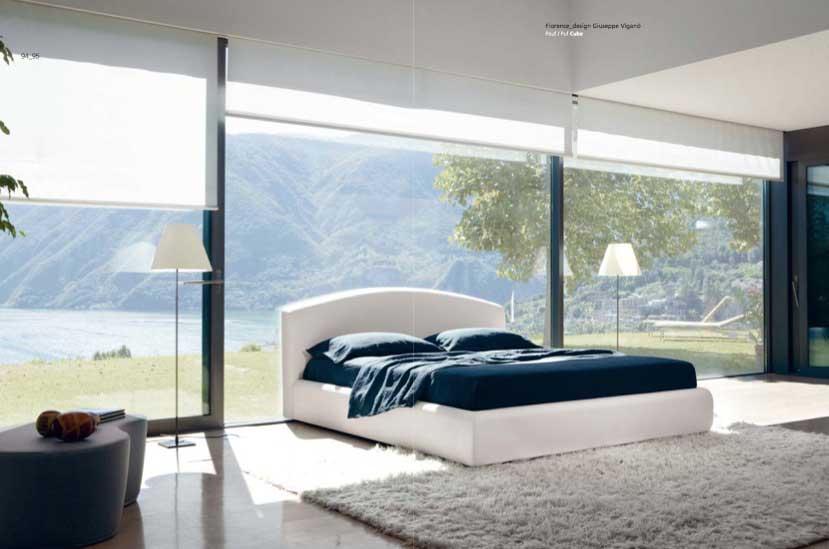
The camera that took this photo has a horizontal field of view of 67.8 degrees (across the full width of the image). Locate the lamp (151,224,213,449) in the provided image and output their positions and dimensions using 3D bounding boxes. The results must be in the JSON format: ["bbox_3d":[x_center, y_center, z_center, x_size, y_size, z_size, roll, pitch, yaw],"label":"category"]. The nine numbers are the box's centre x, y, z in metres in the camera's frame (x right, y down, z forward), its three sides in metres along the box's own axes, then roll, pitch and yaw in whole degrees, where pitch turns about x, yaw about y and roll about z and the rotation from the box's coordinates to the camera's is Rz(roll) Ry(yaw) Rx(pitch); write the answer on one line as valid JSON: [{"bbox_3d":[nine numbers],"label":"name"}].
[{"bbox_3d":[-1.956,0.477,5.235,0.478,1.888,0.582,1,-3,-18],"label":"lamp"}]

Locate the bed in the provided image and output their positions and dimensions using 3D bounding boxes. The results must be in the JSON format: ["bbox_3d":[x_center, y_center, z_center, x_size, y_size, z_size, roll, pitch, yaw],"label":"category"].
[{"bbox_3d":[0.246,0.988,5.398,2.109,0.962,2.228,1,-1,-36],"label":"bed"}]

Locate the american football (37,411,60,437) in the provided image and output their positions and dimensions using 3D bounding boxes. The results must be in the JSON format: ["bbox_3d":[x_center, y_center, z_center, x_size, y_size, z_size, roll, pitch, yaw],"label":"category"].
[{"bbox_3d":[-2.025,0.821,3.443,0.109,0.173,0.056,-3,-2,5],"label":"american football"}]

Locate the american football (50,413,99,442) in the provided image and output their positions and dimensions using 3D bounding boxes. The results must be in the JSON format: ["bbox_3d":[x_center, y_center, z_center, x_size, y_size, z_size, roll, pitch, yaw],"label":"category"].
[{"bbox_3d":[-1.851,0.827,3.396,0.195,0.157,0.145,1,-2,7],"label":"american football"}]
